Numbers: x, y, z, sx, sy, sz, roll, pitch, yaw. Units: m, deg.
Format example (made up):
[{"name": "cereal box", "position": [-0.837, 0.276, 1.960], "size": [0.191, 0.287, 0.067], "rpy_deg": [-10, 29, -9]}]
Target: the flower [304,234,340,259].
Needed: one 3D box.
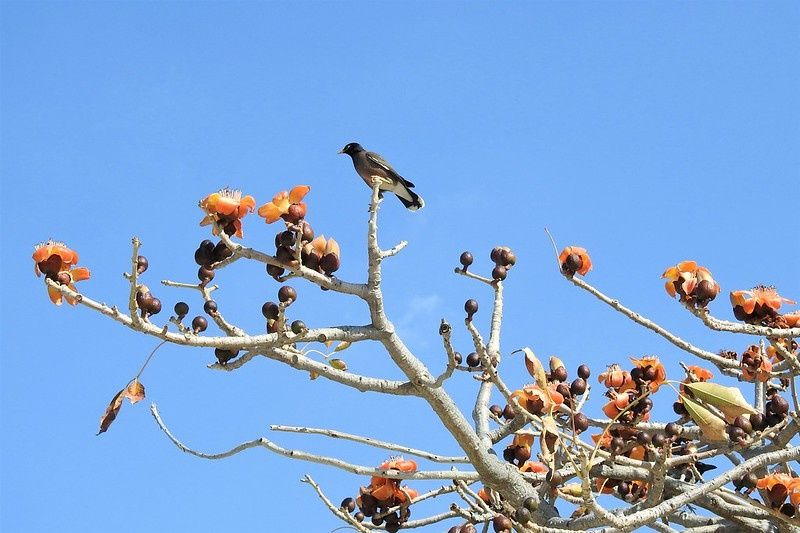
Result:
[{"name": "flower", "position": [-0.667, -0.143, 13.722], "size": [0.281, 0.331, 0.242], "rpy_deg": [-2, -56, -5]}]

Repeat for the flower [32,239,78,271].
[{"name": "flower", "position": [-2.684, -0.051, 12.533], "size": [0.242, 0.232, 0.157], "rpy_deg": [-5, -80, 0]}]
